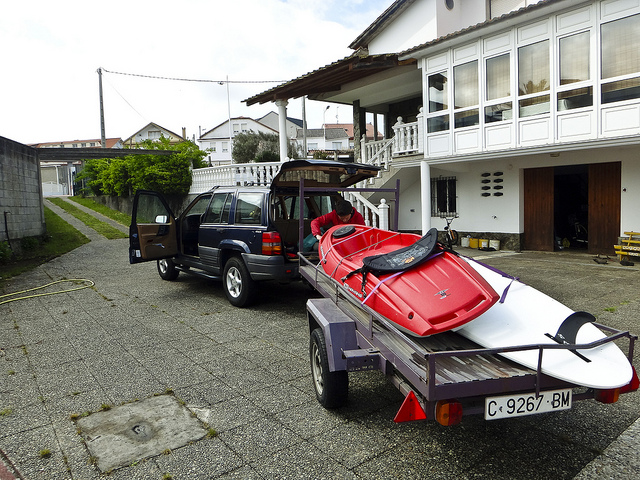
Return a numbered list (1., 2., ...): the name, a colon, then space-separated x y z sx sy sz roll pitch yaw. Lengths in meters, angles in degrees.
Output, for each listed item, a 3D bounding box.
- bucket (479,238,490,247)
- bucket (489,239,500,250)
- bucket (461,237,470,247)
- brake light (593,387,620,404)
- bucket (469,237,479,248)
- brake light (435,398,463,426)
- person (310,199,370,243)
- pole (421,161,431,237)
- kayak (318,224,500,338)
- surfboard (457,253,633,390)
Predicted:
1. bucket: 5.153 0.101 14.303 0.231 0.270 0.236 -2 4 0
2. bucket: 5.345 0.180 14.010 0.263 0.310 0.273 0 4 0
3. bucket: 4.774 0.085 15.074 0.241 0.262 0.239 0 9 0
4. brake light: 2.298 1.244 3.663 0.187 0.147 0.144 -2 2 41
5. bucket: 4.946 0.116 14.701 0.252 0.277 0.264 -2 9 0
6. brake light: 0.992 1.306 3.494 0.218 0.177 0.110 -3 11 -14
7. person: 0.337 -0.299 7.259 0.777 0.350 0.727 -19 -1 14
8. pole: 3.320 -1.375 14.101 0.265 0.280 2.672 -13 -38 7
9. kayak: 0.861 0.386 4.695 1.315 1.187 1.137 2 9 -19
10. surfboard: 1.889 0.810 4.258 0.813 0.271 1.704 -11 27 -23
